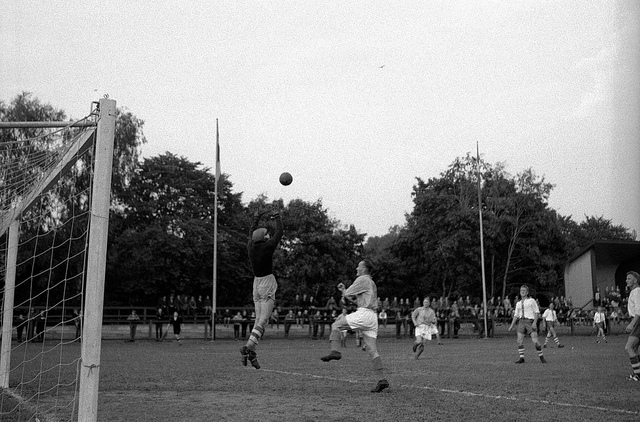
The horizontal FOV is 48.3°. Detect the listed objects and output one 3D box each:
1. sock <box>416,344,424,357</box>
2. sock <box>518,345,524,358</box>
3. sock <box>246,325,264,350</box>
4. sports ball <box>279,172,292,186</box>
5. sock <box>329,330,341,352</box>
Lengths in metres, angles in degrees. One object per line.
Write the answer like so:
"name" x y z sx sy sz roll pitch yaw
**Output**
"sock" 3.785 5.326 27.097 0.223 0.477 0.659 -2 -14 8
"sock" 7.040 4.917 24.950 0.112 0.426 0.224 -5 -14 22
"sock" -1.785 3.432 19.333 0.342 0.568 0.197 3 -23 2
"sports ball" -1.033 -0.926 20.902 0.303 0.371 0.311 0 -14 0
"sock" 0.392 3.398 18.619 0.265 0.586 0.303 -1 -13 3
